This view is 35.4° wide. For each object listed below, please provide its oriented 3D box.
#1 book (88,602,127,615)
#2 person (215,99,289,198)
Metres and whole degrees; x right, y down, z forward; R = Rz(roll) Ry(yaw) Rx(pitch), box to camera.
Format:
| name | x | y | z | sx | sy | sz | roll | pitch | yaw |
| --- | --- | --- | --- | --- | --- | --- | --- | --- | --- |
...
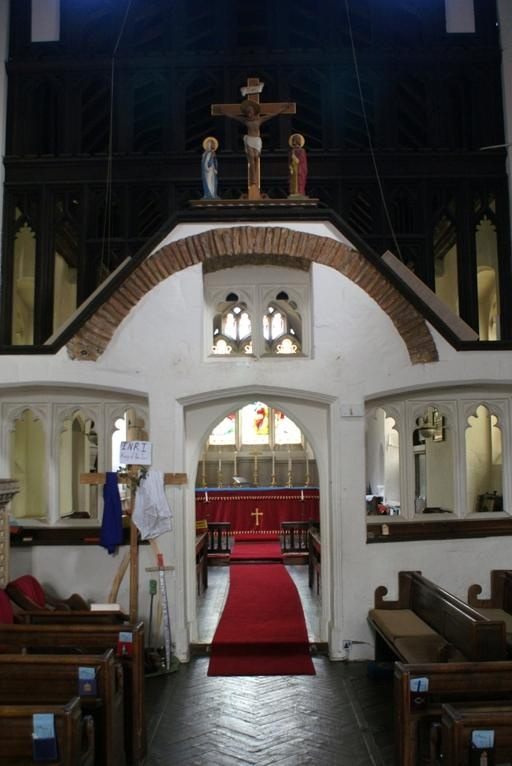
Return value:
| name | x | y | z | sx | sy | sz | roll | pitch | yaw |
| --- | --- | --- | --- | --- | --- | --- | --- | --- | --- |
| book | -1.406 | 2.084 | 7.392 | 0.326 | 0.086 | 0.332 | -1 | -9 | 2 |
| person | -0.043 | -2.493 | 8.506 | 0.845 | 1.172 | 0.549 | 0 | 0 | -3 |
